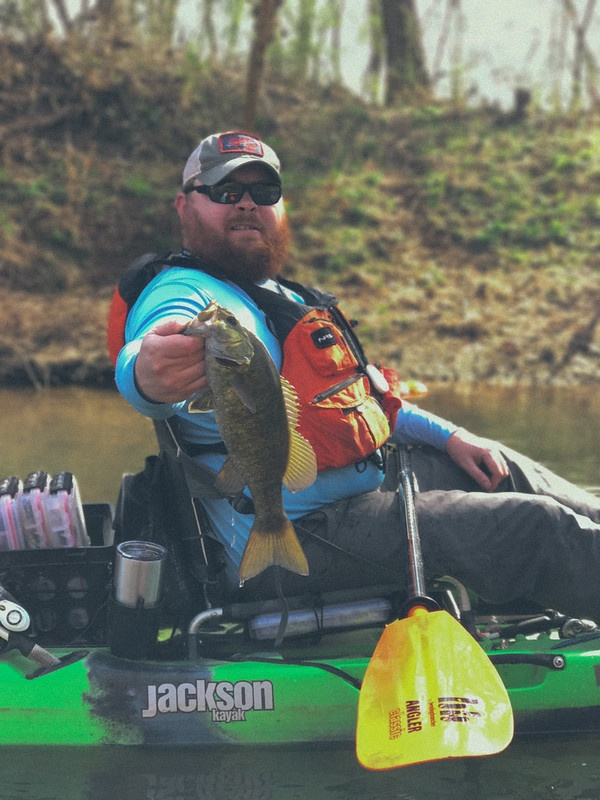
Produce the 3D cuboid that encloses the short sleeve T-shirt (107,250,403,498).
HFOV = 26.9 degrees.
[{"bbox_3d":[-0.205,-0.106,5.223,0.909,1.079,0.400,-33,-10,-36],"label":"short sleeve T-shirt"}]
